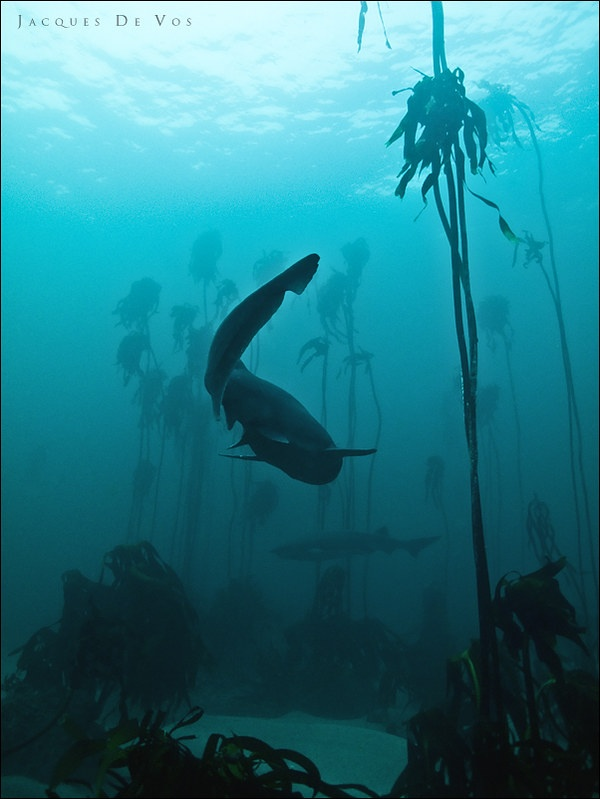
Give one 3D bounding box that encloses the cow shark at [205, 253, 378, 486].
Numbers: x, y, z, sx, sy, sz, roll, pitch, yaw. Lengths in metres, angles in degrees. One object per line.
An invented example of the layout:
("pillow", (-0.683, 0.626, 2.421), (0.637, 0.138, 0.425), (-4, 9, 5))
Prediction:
("cow shark", (-0.174, -0.181, 4.755), (0.784, 1.509, 0.824), (-6, -7, 43))
